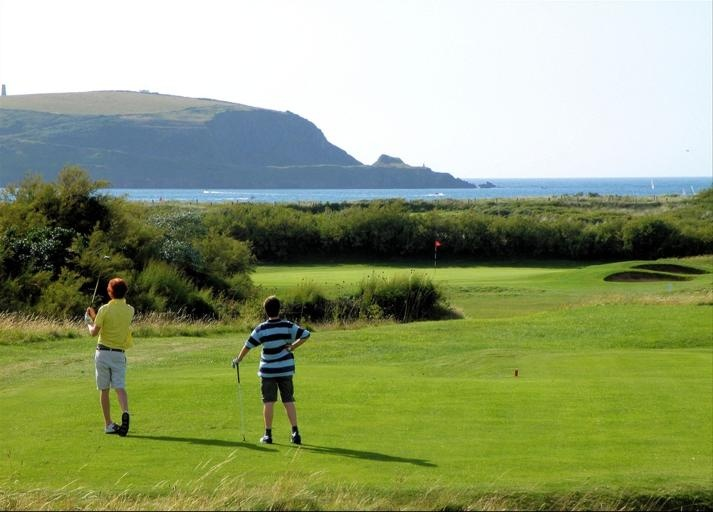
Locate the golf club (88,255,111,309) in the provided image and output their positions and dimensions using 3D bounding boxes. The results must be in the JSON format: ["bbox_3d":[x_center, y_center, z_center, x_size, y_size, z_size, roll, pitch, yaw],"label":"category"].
[{"bbox_3d":[-9.427,1.005,39.184,0.375,1.955,0.216,17,-16,-19],"label":"golf club"}]

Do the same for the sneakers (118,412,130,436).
[{"bbox_3d":[-5.301,3.869,24.621,0.198,0.547,0.237,4,-5,9],"label":"sneakers"}]

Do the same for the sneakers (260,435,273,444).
[{"bbox_3d":[-2.066,4.194,24.503,0.286,0.168,0.158,-2,1,-6],"label":"sneakers"}]

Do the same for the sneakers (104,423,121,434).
[{"bbox_3d":[-5.618,3.991,24.673,0.165,0.181,0.405,4,7,22],"label":"sneakers"}]

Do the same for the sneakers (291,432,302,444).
[{"bbox_3d":[-1.393,4.162,24.534,0.240,0.238,0.264,-1,1,-4],"label":"sneakers"}]

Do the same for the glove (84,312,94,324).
[{"bbox_3d":[-6.261,1.460,24.955,0.227,0.281,0.265,0,-10,-7],"label":"glove"}]
